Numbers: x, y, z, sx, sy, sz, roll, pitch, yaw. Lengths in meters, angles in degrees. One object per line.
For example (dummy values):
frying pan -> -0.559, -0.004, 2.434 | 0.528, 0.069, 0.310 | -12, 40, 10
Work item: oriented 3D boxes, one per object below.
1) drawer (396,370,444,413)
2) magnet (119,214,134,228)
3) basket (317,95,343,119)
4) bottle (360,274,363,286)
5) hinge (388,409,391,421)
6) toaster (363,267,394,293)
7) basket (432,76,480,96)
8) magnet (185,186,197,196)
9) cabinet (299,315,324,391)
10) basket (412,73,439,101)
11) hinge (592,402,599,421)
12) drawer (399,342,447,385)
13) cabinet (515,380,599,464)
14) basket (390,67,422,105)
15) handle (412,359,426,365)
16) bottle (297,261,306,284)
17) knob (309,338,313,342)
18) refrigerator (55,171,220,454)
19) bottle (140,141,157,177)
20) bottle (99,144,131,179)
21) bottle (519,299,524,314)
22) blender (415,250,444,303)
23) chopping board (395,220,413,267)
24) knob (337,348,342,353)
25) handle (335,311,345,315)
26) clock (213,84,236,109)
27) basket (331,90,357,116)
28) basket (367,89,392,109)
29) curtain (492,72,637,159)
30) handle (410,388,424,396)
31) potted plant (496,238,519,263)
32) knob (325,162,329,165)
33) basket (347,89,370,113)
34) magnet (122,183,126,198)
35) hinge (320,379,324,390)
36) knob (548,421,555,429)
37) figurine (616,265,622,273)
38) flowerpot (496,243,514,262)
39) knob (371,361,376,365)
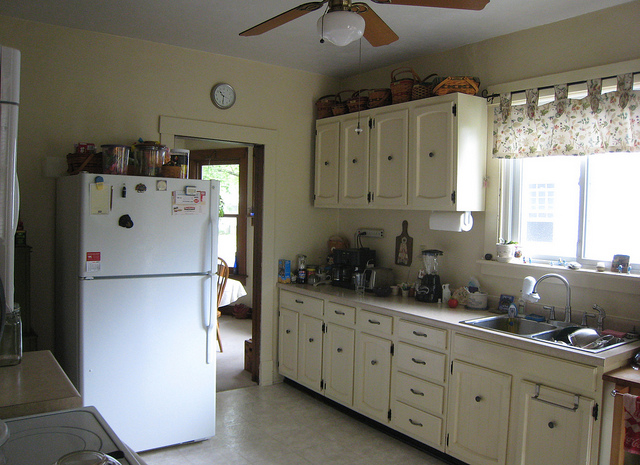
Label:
drawer -> 0.734, 1.181, 3.872 | 0.208, 0.155, 0.320 | 5, 2, -41
magnet -> -1.390, -0.081, 3.744 | 0.093, 0.090, 0.031 | -3, 10, -20
basket -> 0.063, -1.228, 5.065 | 0.268, 0.233, 0.185 | -7, 12, -27
bottle -> 0.380, 0.427, 4.703 | 0.021, 0.097, 0.058 | 0, 9, -7
hinge -> 0.547, 1.418, 4.059 | 0.011, 0.076, 0.029 | -7, 12, -40
toaster -> 0.522, 0.414, 4.742 | 0.236, 0.200, 0.229 | 1, 3, -31
basket -> 1.052, -1.132, 4.046 | 0.223, 0.080, 0.191 | 1, 4, 1
magnet -> -0.967, -0.314, 3.979 | 0.110, 0.093, 0.059 | -2, 1, -36
cabinet -> -0.069, 1.076, 4.696 | 0.189, 0.593, 0.228 | -2, 5, -33
basket -> 0.885, -1.160, 4.226 | 0.129, 0.177, 0.204 | -3, 8, -42
hinge -> 1.625, 1.054, 3.064 | 0.027, 0.095, 0.015 | 6, 10, 29
drawer -> 0.812, 0.963, 3.957 | 0.395, 0.224, 0.249 | 6, 3, 39
cabinet -> 1.470, 1.220, 3.218 | 0.269, 0.481, 0.413 | 1, 4, -36
basket -> 0.691, -1.297, 4.560 | 0.300, 0.398, 0.424 | 4, 9, 21
handle -> 0.740, 0.962, 3.869 | 0.028, 0.024, 0.094 | -6, 16, -35
bottle -> -0.173, 0.385, 5.055 | 0.079, 0.188, 0.194 | 0, 9, -2
knob -> -0.077, 0.972, 4.702 | 0.041, 0.040, 0.012 | -2, 1, 35
refrigerator -> -1.594, 0.509, 4.331 | 1.348, 2.024, 1.076 | 1, 5, -30
bottle -> -1.288, -0.561, 3.950 | 0.113, 0.252, 0.112 | 1, 9, 0
bottle -> -1.502, -0.543, 3.938 | 0.224, 0.238, 0.224 | 2, 2, 27
bottle -> 1.523, 0.561, 3.931 | 0.025, 0.099, 0.046 | -2, 9, -15
blender -> 0.933, 0.357, 4.391 | 0.214, 0.416, 0.248 | 2, 9, 11
chopping board -> 0.780, 0.093, 4.751 | 0.061, 0.410, 0.201 | -6, 11, -36
knob -> 0.170, 1.003, 4.437 | 0.038, 0.037, 0.014 | 7, 8, 18
handle -> 0.175, 0.688, 4.431 | 0.017, 0.023, 0.099 | -4, 3, -39
clock -> -0.859, -1.245, 4.723 | 0.047, 0.193, 0.196 | 10, -11, 42
basket -> 0.208, -1.174, 4.944 | 0.145, 0.126, 0.096 | -2, 4, 18
basket -> 0.521, -1.172, 4.534 | 0.174, 0.115, 0.173 | 1, 9, 9
curtain -> 1.703, -0.807, 3.687 | 0.261, 0.466, 1.002 | -2, 7, -33
handle -> 0.732, 1.187, 3.873 | 0.079, 0.020, 0.081 | -1, 4, -8
potted plant -> 1.443, 0.147, 4.019 | 0.137, 0.160, 0.156 | 1, -4, 11
knob -> 0.069, -0.668, 5.014 | 0.033, 0.032, 0.031 | 3, 9, 10
basket -> 0.368, -1.197, 4.779 | 0.243, 0.228, 0.181 | 1, 3, 23
magnet -> -1.403, -0.301, 3.739 | 0.026, 0.089, 0.014 | -4, 10, -26
hinge -> 0.022, 1.331, 4.597 | 0.010, 0.079, 0.049 | -6, 12, -37
knob -> 1.430, 1.184, 3.207 | 0.031, 0.030, 0.023 | -3, 4, 30
figurine -> 2.045, 0.245, 3.545 | 0.033, 0.051, 0.018 | 7, 11, 33
flowerpot -> 1.431, 0.152, 4.024 | 0.131, 0.131, 0.129 | -1, 7, -12
knob -> 0.437, 1.040, 4.169 | 0.041, 0.013, 0.057 | -5, 4, -40
